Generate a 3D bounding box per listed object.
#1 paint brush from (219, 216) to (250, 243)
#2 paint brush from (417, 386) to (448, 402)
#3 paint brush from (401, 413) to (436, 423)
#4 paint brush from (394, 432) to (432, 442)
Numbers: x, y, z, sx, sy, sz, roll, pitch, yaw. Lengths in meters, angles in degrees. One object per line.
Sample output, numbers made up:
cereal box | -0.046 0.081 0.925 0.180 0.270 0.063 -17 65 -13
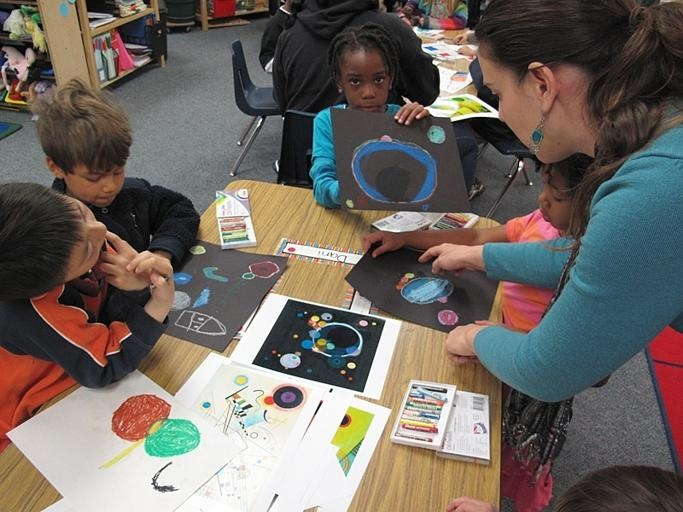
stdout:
paint brush | -0.347 -0.090 1.481 0.093 0.021 0.090 0 46 -10
paint brush | 0.216 0.317 1.053 0.049 0.011 0.026 7 35 17
paint brush | 0.170 0.361 1.005 0.067 0.016 0.009 1 51 5
paint brush | 0.154 0.384 0.972 0.043 0.009 0.010 9 41 12
